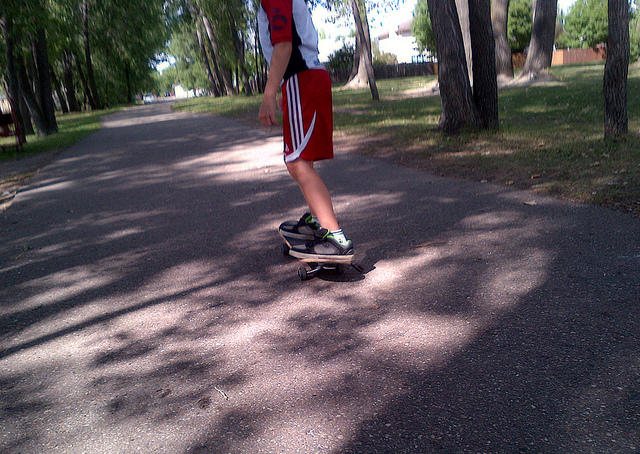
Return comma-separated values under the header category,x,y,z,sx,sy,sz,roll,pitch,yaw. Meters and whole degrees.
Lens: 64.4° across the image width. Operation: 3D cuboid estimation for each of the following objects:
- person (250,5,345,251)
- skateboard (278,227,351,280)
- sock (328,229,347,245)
category,x,y,z,sx,sy,sz,roll,pitch,yaw
person,-0.187,-0.910,4.560,0.635,2.117,0.781,-6,17,2
skateboard,-0.109,0.271,4.794,0.405,0.363,0.882,-21,23,-36
sock,0.165,0.084,4.535,0.072,0.097,0.212,-5,16,-17
